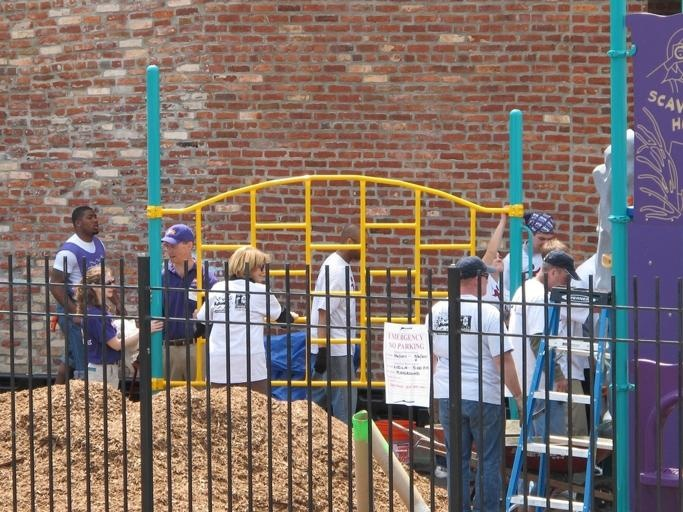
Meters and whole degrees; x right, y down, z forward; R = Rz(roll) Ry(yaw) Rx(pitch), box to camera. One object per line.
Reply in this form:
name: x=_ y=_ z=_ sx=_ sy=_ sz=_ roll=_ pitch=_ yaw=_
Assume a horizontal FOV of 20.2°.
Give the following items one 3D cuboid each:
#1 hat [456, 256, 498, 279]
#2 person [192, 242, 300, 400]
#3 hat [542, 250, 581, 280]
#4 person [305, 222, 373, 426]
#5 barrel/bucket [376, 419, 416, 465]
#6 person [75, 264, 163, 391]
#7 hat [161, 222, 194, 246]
hat: x=1.189 y=0.074 z=16.981 sx=0.334 sy=0.130 sz=0.220 roll=-6 pitch=8 yaw=-44
person: x=-0.900 y=0.916 z=17.969 sx=0.986 sy=1.931 sz=0.734 roll=0 pitch=10 yaw=-4
hat: x=1.964 y=0.058 z=17.286 sx=0.300 sy=0.151 sz=0.191 roll=21 pitch=6 yaw=-10
person: x=-0.010 y=0.859 z=18.848 sx=0.841 sy=2.395 sz=0.812 roll=4 pitch=12 yaw=2
barrel/bucket: x=0.498 y=1.890 z=18.587 sx=0.276 sy=0.488 sz=0.235 roll=10 pitch=11 yaw=-45
person: x=-2.029 y=0.654 z=17.336 sx=0.745 sy=1.596 sz=0.525 roll=-8 pitch=30 yaw=-16
hat: x=-1.598 y=-0.222 z=18.564 sx=0.266 sy=0.135 sz=0.182 roll=5 pitch=0 yaw=-39
